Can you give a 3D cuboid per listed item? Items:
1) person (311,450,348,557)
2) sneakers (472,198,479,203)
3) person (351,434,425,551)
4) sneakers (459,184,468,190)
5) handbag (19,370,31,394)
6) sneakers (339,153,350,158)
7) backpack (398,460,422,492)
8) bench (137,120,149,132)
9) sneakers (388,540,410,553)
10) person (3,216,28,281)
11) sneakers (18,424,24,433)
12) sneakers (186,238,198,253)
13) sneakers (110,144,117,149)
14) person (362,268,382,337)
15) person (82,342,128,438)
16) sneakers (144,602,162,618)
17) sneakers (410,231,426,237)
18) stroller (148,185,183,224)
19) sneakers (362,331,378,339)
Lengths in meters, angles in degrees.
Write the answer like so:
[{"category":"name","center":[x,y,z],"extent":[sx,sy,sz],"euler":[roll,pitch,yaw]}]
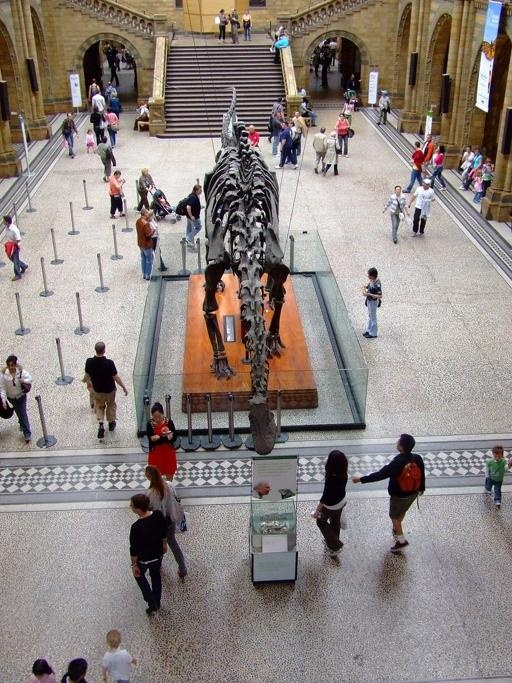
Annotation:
[{"category":"person","center":[0.752,1.672,5.066],"extent":[0.311,1.428,0.670],"euler":[1,12,8]},{"category":"sneakers","center":[7.538,-4.858,17.006],"extent":[0.168,0.205,0.281],"euler":[4,13,20]},{"category":"person","center":[1.404,1.579,5.204],"extent":[0.716,1.346,0.418],"euler":[-6,17,-9]},{"category":"sneakers","center":[7.597,-5.679,18.171],"extent":[0.105,0.233,0.343],"euler":[1,32,5]},{"category":"handbag","center":[-3.382,0.598,7.253],"extent":[0.127,0.361,0.239],"euler":[-5,13,-18]},{"category":"sneakers","center":[3.955,-8.372,22.274],"extent":[0.433,0.195,0.178],"euler":[3,63,15]},{"category":"backpack","center":[1.525,1.328,4.929],"extent":[0.214,0.302,0.169],"euler":[-11,32,-18]},{"category":"bench","center":[-5.981,-11.402,26.156],"extent":[0.453,0.876,0.600],"euler":[-4,29,-7]},{"category":"sneakers","center":[1.573,2.280,5.455],"extent":[0.202,0.093,0.096],"euler":[-22,28,0]},{"category":"person","center":[-6.552,-2.556,13.434],"extent":[0.518,1.638,2.634],"euler":[-6,14,-24]},{"category":"sneakers","center":[-3.686,1.369,7.749],"extent":[0.051,0.112,0.158],"euler":[-13,51,-23]},{"category":"sneakers","center":[-1.508,-2.302,11.880],"extent":[0.376,0.278,0.270],"euler":[6,14,28]},{"category":"sneakers","center":[-6.828,-9.368,23.722],"extent":[0.174,0.262,0.462],"euler":[-1,13,-1]},{"category":"person","center":[2.328,-0.763,10.055],"extent":[0.331,1.506,1.268],"euler":[2,13,13]},{"category":"person","center":[-2.245,0.710,7.425],"extent":[0.557,1.491,0.546],"euler":[-1,25,-12]},{"category":"sneakers","center":[-0.953,2.481,4.558],"extent":[0.086,0.038,0.126],"euler":[5,32,4]},{"category":"sneakers","center":[4.997,-3.313,15.271],"extent":[0.357,0.144,0.251],"euler":[3,14,18]},{"category":"stroller","center":[-2.953,-4.413,16.041],"extent":[0.966,1.088,1.109],"euler":[-4,13,-12]},{"category":"sneakers","center":[2.398,-0.142,10.366],"extent":[0.269,0.126,0.128],"euler":[2,51,8]}]
